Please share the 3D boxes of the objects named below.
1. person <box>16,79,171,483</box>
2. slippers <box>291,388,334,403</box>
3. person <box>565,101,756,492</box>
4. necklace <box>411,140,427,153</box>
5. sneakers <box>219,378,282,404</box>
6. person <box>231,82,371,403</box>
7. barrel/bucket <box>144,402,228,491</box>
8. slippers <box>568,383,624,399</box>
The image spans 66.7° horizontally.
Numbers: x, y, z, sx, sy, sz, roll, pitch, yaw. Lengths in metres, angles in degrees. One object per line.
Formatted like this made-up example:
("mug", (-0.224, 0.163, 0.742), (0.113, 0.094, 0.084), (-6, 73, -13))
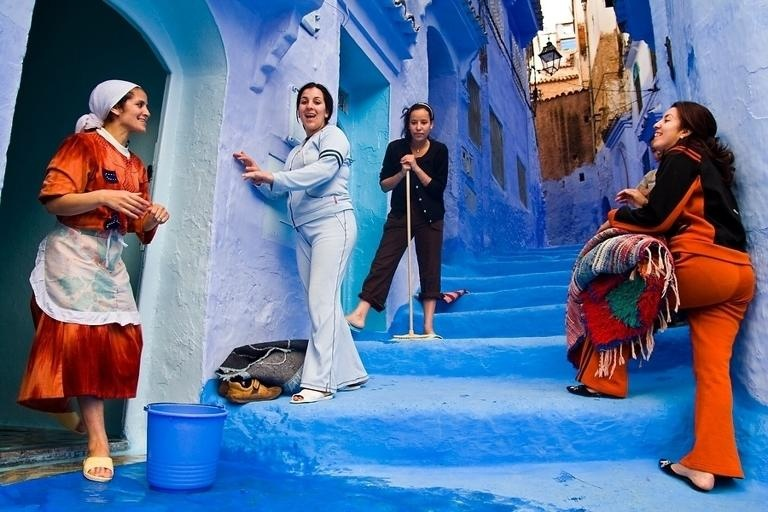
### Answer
("person", (-1.670, 0.098, 3.402), (0.593, 2.149, 0.902), (4, 15, 14))
("slippers", (-0.467, 0.891, 3.795), (0.242, 0.066, 0.099), (7, -12, -37))
("person", (1.773, 0.145, 3.437), (0.826, 2.004, 1.161), (-5, 16, -22))
("necklace", (0.319, -0.990, 5.312), (0.139, 0.116, 0.102), (0, 3, 27))
("sneakers", (-0.877, 0.846, 3.847), (0.288, 0.117, 0.174), (2, 1, -40))
("person", (-0.513, -0.100, 3.994), (0.750, 2.068, 1.075), (-3, 15, -13))
("barrel/bucket", (-1.141, 1.081, 3.368), (0.476, 0.440, 0.474), (3, -7, 0))
("slippers", (1.316, 0.872, 3.754), (0.263, 0.072, 0.099), (6, 3, 45))
